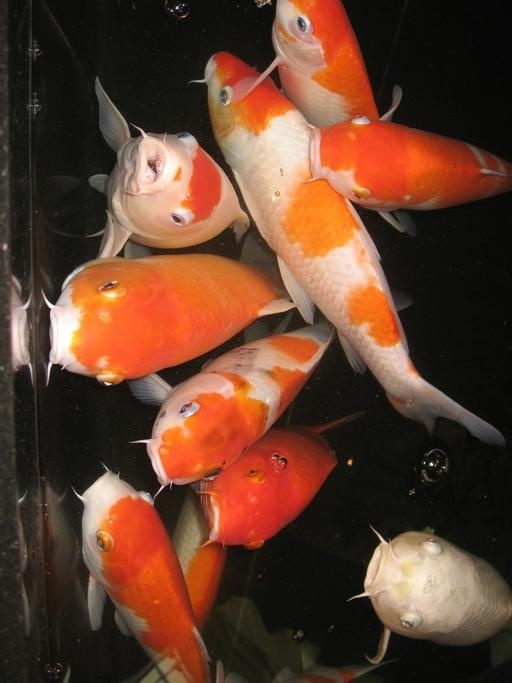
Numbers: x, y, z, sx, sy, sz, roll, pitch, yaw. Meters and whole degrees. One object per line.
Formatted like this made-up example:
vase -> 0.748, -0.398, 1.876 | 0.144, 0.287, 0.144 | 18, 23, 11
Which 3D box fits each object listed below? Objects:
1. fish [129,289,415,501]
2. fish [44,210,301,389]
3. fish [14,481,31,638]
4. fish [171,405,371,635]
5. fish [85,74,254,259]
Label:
fish -> -0.001, 0.100, 1.400 | 0.408, 0.158, 0.180 | -38, 98, -37
fish -> -0.143, -0.077, 1.373 | 0.389, 0.212, 0.189 | -19, 100, -31
fish -> -0.341, 0.332, 1.169 | 0.018, 0.023, 0.200 | -1, 89, -8
fish -> 0.058, 0.261, 1.491 | 0.149, 0.209, 0.513 | 28, 37, 16
fish -> -0.167, -0.284, 1.375 | 0.236, 0.142, 0.315 | 12, 75, -46
